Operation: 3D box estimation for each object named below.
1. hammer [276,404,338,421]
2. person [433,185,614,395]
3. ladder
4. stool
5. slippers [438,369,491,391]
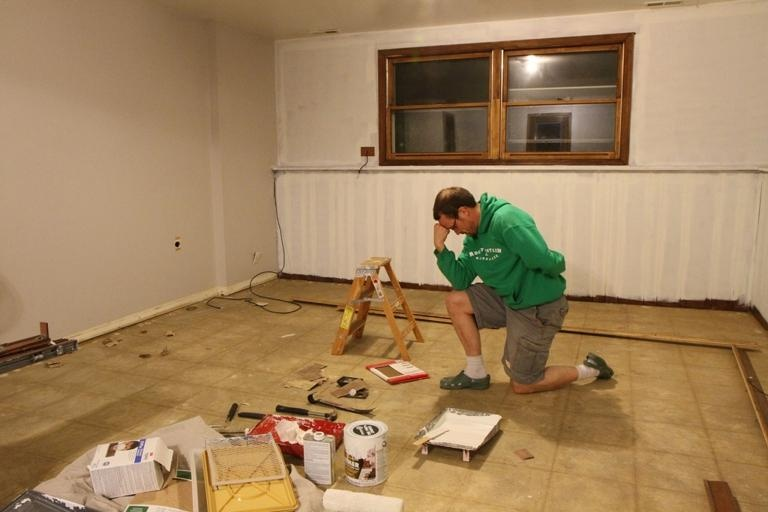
[{"bbox_3d":[-0.531,1.043,3.332,0.469,0.055,0.130,3,14,13],"label":"hammer"},{"bbox_3d":[0.919,0.251,3.510,1.137,1.471,0.441,4,15,18],"label":"person"},{"bbox_3d":[-0.019,0.414,4.550,0.996,0.917,0.741,-1,3,14],"label":"ladder"},{"bbox_3d":[-0.013,0.421,4.564,0.996,0.922,0.741,-1,3,14],"label":"stool"},{"bbox_3d":[0.594,0.903,3.633,0.291,0.098,0.150,2,-2,9],"label":"slippers"}]
